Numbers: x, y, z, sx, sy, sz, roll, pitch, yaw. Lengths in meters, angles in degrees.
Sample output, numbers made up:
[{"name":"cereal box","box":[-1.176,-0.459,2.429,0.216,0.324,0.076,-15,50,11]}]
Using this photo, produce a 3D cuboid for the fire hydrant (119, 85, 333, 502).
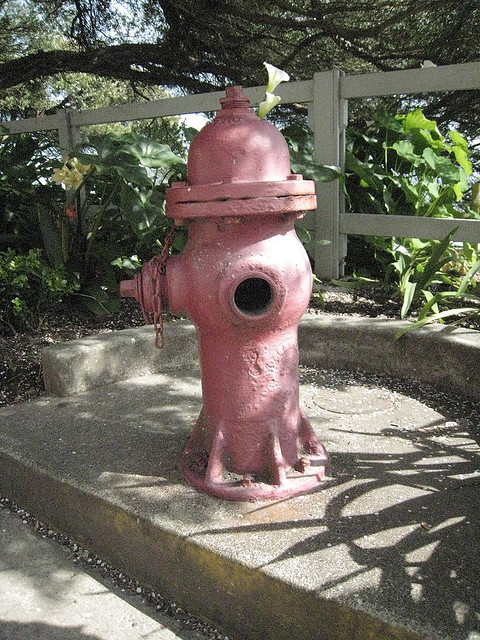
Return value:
[{"name":"fire hydrant","box":[-0.014,-0.087,1.843,0.654,1.279,0.334,2,13,8]}]
